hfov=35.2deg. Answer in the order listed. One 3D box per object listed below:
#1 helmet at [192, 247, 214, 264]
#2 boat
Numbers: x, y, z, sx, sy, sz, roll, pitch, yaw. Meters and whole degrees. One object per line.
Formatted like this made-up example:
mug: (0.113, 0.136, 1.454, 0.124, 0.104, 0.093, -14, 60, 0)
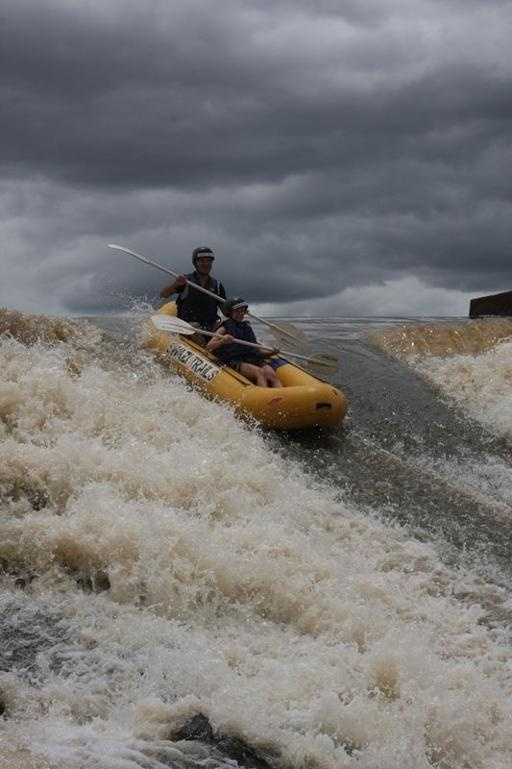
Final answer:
helmet: (-0.676, -1.603, 10.046, 0.227, 0.192, 0.256, 1, 5, -1)
boat: (-0.275, -0.381, 9.061, 1.154, 0.569, 2.607, 1, 18, -39)
